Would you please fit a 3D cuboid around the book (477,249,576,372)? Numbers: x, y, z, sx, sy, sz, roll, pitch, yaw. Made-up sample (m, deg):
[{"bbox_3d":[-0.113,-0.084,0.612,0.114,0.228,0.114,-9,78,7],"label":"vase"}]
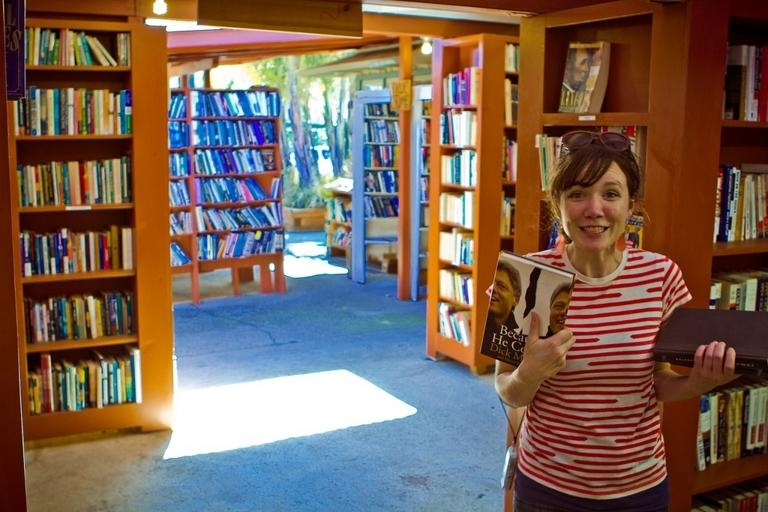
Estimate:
[{"bbox_3d":[0.571,0.214,2.486,0.350,0.458,0.209,3,13,15],"label":"book"}]
